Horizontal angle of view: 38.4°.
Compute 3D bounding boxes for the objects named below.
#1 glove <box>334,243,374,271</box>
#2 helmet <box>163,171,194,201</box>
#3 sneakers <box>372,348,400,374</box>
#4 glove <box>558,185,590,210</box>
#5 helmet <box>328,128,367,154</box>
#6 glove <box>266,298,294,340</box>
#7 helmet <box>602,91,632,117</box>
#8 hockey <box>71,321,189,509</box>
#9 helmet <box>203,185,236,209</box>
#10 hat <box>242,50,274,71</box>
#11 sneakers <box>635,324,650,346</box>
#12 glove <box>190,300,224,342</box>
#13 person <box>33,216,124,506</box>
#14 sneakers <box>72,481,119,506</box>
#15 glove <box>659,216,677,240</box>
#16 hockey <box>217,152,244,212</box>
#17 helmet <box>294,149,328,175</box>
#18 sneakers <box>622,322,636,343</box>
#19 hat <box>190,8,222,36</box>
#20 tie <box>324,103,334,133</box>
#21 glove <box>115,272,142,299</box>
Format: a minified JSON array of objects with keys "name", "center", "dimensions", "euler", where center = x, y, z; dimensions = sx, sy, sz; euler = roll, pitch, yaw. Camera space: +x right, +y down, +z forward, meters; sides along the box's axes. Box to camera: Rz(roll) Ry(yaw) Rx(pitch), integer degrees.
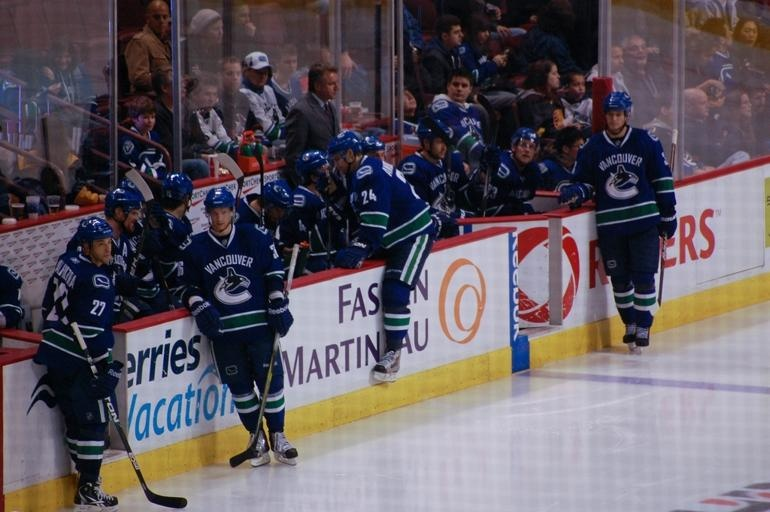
[{"name":"glove","center":[-0.216,-0.015,9.284],"dimensions":[0.229,0.214,0.405],"euler":[-7,2,41]},{"name":"helmet","center":[-1.729,-0.577,9.254],"dimensions":[0.195,0.238,0.254],"euler":[0,-28,-8]},{"name":"sneakers","center":[0.032,0.899,9.436],"dimensions":[0.288,0.196,0.139],"euler":[-9,1,-19]},{"name":"glove","center":[1.855,-0.590,10.752],"dimensions":[0.386,0.225,0.236],"euler":[-9,1,-36]},{"name":"helmet","center":[-0.310,-0.952,9.363],"dimensions":[0.270,0.225,0.217],"euler":[8,3,8]},{"name":"glove","center":[-0.798,0.468,8.428],"dimensions":[0.209,0.274,0.111],"euler":[-4,15,1]},{"name":"helmet","center":[2.226,-1.458,10.596],"dimensions":[0.259,0.207,0.202],"euler":[-8,1,10]},{"name":"hockey","center":[-1.883,1.146,8.011],"dimensions":[0.161,1.390,0.204],"euler":[-31,-4,33]},{"name":"helmet","center":[-1.257,-0.443,8.440],"dimensions":[0.232,0.180,0.305],"euler":[-8,1,-8]},{"name":"hat","center":[-1.327,-2.041,11.592],"dimensions":[0.190,0.138,0.261],"euler":[-4,4,-26]},{"name":"sneakers","center":[2.538,0.775,10.844],"dimensions":[0.081,0.099,0.250],"euler":[-1,31,9]},{"name":"glove","center":[-1.330,0.474,8.347],"dimensions":[0.198,0.284,0.107],"euler":[-39,2,16]},{"name":"person","center":[-2.165,0.769,7.847],"dimensions":[0.644,2.120,0.318],"euler":[-8,1,9]},{"name":"sneakers","center":[-2.039,1.683,7.863],"dimensions":[0.337,0.202,0.126],"euler":[1,3,-8]},{"name":"glove","center":[2.746,-0.285,10.725],"dimensions":[0.169,0.194,0.139],"euler":[-8,1,11]},{"name":"hockey","center":[-1.266,-0.631,9.486],"dimensions":[0.146,0.464,0.473],"euler":[-5,19,-38]},{"name":"helmet","center":[-0.652,-0.851,9.906],"dimensions":[0.241,0.191,0.185],"euler":[-1,2,9]},{"name":"sneakers","center":[2.411,0.755,10.895],"dimensions":[0.135,0.183,0.122],"euler":[-8,1,24]},{"name":"hat","center":[-1.806,-2.358,11.131],"dimensions":[0.085,0.267,0.424],"euler":[-7,1,32]},{"name":"tie","center":[-0.579,-1.490,11.942],"dimensions":[0.083,0.265,0.186],"euler":[2,26,13]},{"name":"glove","center":[-1.954,0.212,8.442],"dimensions":[0.159,0.176,0.182],"euler":[2,-4,-16]}]
